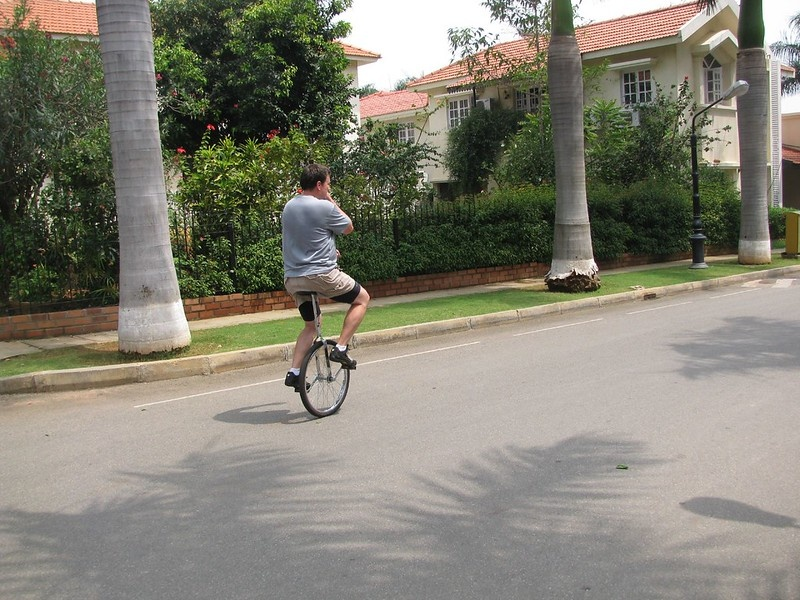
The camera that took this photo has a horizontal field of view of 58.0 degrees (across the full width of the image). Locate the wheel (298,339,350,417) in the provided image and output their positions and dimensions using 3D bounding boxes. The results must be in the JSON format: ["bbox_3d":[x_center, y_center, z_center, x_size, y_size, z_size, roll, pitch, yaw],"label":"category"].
[{"bbox_3d":[-0.806,0.824,7.727,0.232,0.800,0.721,3,9,23],"label":"wheel"}]

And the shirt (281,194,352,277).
[{"bbox_3d":[-0.900,-0.682,7.758,0.704,0.873,0.350,-3,9,-10],"label":"shirt"}]

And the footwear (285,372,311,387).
[{"bbox_3d":[-1.054,0.832,7.553,0.112,0.158,0.316,4,1,27],"label":"footwear"}]

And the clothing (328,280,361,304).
[{"bbox_3d":[-0.589,-0.083,7.965,0.302,0.233,0.219,11,-7,39],"label":"clothing"}]
